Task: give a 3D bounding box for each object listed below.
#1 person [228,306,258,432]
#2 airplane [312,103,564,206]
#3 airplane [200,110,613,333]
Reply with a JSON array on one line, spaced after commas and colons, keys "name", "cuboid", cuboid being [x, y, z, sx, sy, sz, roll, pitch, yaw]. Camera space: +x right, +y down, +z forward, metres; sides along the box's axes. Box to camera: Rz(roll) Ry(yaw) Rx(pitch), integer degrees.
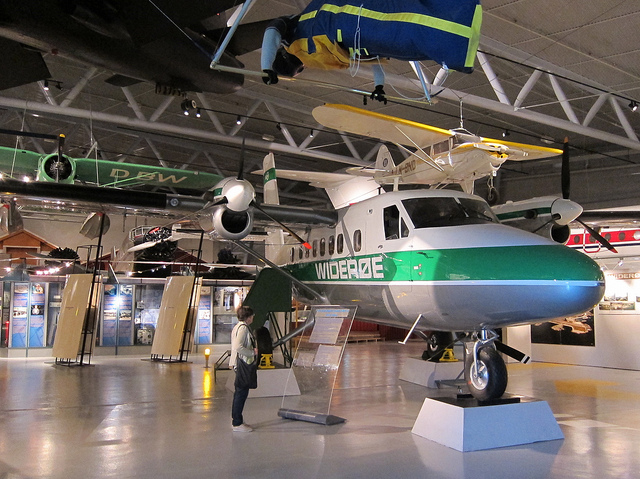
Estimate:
[{"name": "person", "cuboid": [-1.255, 2.080, 7.909, 0.415, 1.987, 0.741, 3, -9, -9]}, {"name": "airplane", "cuboid": [3.144, -1.930, 13.743, 7.291, 1.718, 5.539, 4, -1, -16]}, {"name": "airplane", "cuboid": [1.958, 0.209, 10.474, 7.488, 2.770, 7.496, 1, 1, -39]}]
